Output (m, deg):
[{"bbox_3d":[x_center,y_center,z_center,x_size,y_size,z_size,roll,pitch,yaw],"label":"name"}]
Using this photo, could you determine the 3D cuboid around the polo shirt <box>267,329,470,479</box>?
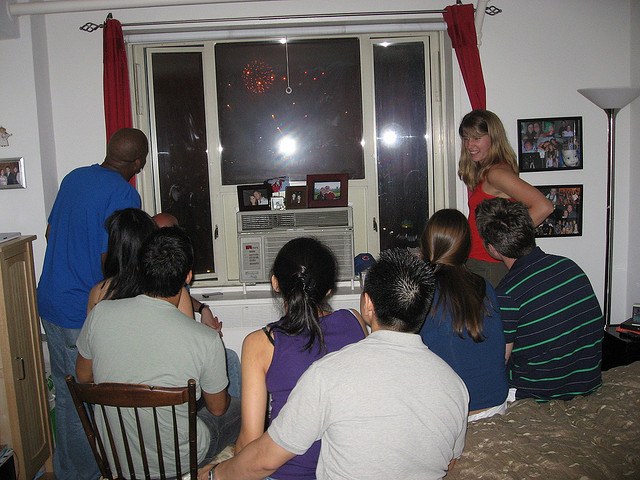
[{"bbox_3d":[0.143,0.522,1.534,0.617,0.471,0.193,-4,5,14],"label":"polo shirt"}]

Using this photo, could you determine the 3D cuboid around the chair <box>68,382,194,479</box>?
[{"bbox_3d":[-0.663,0.730,1.876,0.484,0.474,0.220,-4,5,12],"label":"chair"}]

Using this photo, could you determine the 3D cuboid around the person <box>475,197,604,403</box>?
[{"bbox_3d":[1.012,0.430,2.276,0.410,1.164,0.611,-17,18,-6],"label":"person"}]

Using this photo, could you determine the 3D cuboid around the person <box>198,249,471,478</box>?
[{"bbox_3d":[0.130,0.465,1.708,0.513,0.810,0.529,4,9,-4],"label":"person"}]
